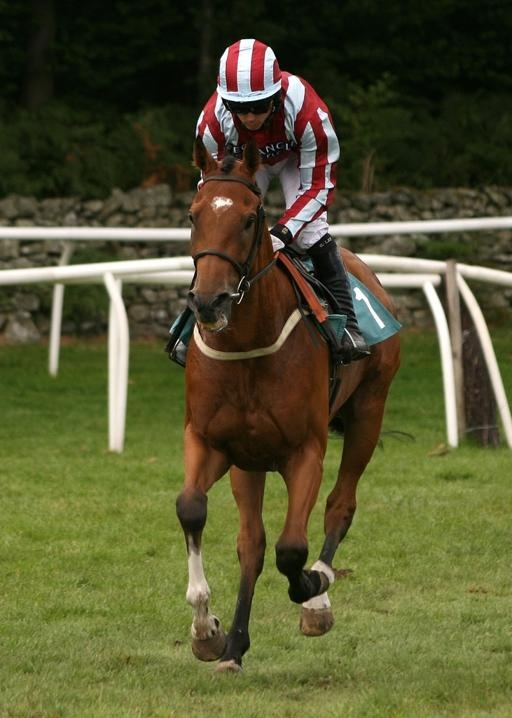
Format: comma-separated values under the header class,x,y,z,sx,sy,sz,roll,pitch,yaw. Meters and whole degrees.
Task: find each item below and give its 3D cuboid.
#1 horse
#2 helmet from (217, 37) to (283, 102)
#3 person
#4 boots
class,x,y,z,sx,sy,sz,roll,pitch,yaw
horse,0.053,0.122,3.629,0.521,1.597,1.302,0,11,9
helmet,-0.029,-0.854,3.413,0.169,0.114,0.217,-2,44,9
person,0.032,-0.544,3.745,0.642,0.955,0.541,1,19,13
boots,0.228,-0.255,3.916,0.145,0.503,0.159,-25,-41,18
